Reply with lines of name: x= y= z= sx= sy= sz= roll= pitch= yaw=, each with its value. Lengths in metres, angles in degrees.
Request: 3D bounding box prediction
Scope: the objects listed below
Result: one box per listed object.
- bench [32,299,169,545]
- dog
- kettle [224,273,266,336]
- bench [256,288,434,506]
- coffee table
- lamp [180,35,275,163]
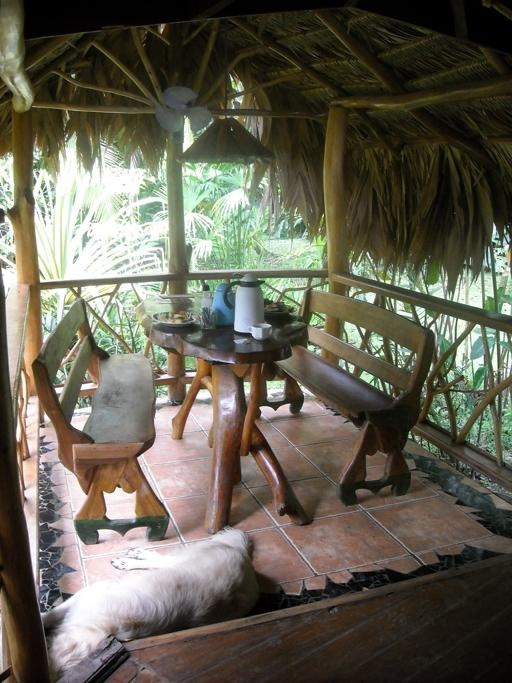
bench: x=-0.717 y=0.337 z=2.375 sx=0.849 sy=1.152 sz=0.826 roll=-2 pitch=14 yaw=-12
dog: x=-0.355 y=0.859 z=1.806 sx=0.813 sy=0.214 sz=0.469 roll=-9 pitch=16 yaw=-32
kettle: x=-0.043 y=-0.181 z=2.456 sx=0.183 sy=0.282 sz=0.168 roll=18 pitch=18 yaw=41
bench: x=0.434 y=0.215 z=3.020 sx=0.529 sy=0.851 sz=1.461 roll=-10 pitch=15 yaw=-13
coffee table: x=-0.053 y=0.351 z=2.553 sx=0.837 sy=0.815 sz=1.126 roll=1 pitch=13 yaw=-10
lamp: x=-0.155 y=-1.068 z=2.640 sx=0.421 sy=0.244 sz=0.252 roll=-8 pitch=16 yaw=-29
